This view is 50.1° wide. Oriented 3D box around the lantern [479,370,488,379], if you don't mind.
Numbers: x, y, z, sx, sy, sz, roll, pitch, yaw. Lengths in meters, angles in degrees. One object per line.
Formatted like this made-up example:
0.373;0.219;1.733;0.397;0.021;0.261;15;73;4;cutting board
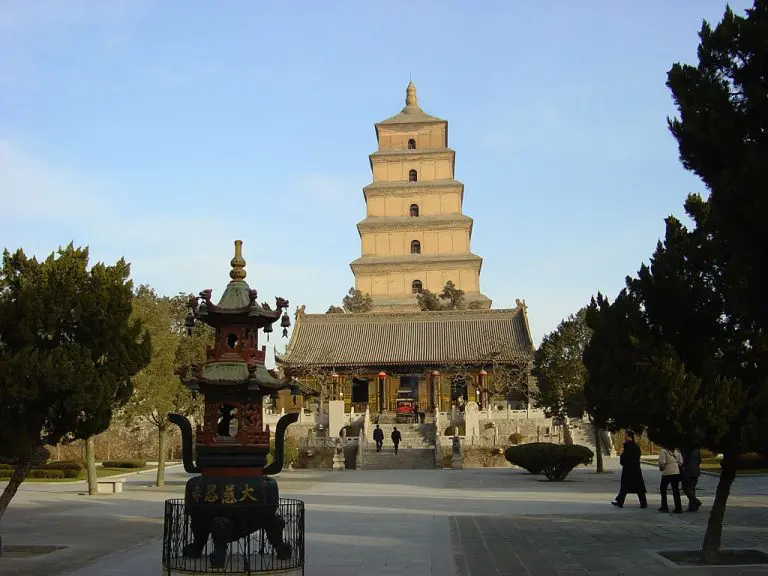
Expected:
5.717;4.945;47.324;0.445;0.473;0.451;0;-13;-2;lantern

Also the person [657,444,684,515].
6.714;4.496;19.290;0.598;1.466;1.937;-4;-14;18;person
